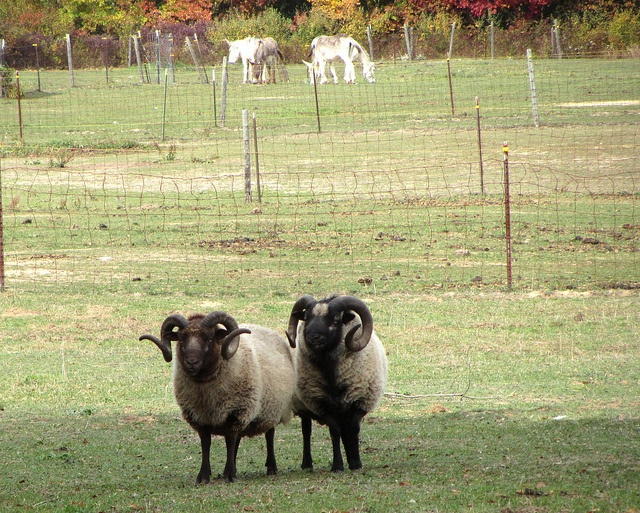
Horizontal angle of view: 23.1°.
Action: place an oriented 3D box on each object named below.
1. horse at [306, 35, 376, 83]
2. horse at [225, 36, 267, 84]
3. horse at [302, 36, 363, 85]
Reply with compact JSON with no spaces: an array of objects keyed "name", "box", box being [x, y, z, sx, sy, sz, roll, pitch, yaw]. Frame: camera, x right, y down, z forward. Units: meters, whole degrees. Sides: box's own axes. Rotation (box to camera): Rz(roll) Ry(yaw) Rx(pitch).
[{"name":"horse","box":[1.241,-9.476,74.872,5.107,2.841,1.395,3,7,42]},{"name":"horse","box":[-3.626,-9.960,77.725,1.972,2.948,1.861,10,23,34]},{"name":"horse","box":[0.753,-9.022,75.033,2.831,2.436,2.356,11,25,42]}]
